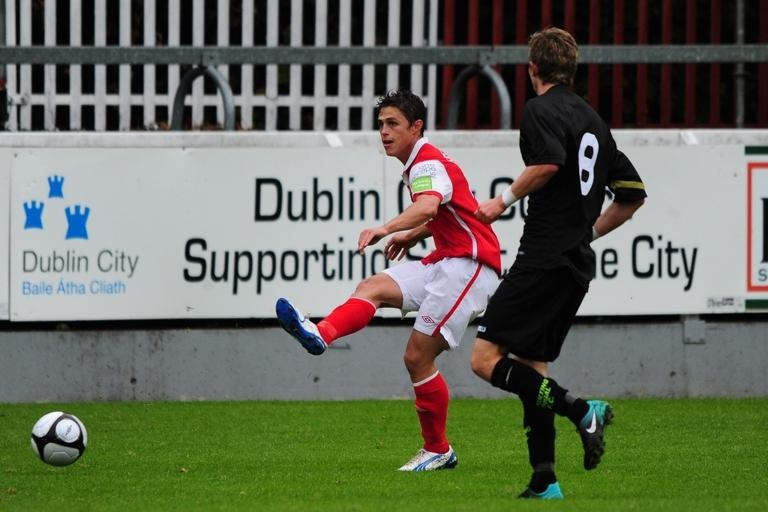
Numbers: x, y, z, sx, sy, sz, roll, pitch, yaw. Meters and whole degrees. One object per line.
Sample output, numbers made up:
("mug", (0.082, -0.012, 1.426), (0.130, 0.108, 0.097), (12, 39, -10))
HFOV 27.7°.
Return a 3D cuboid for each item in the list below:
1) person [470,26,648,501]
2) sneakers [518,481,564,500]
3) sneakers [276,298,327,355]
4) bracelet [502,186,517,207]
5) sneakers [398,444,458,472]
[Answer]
("person", (1.388, 0.037, 12.711), (1.325, 3.818, 0.544), (-2, -2, 8))
("sneakers", (1.304, 1.896, 12.675), (0.377, 0.192, 0.144), (2, -4, -1))
("sneakers", (-0.654, 0.524, 12.934), (0.187, 0.291, 0.587), (-17, -55, 36))
("bracelet", (1.039, -0.466, 12.635), (0.107, 0.160, 0.129), (-3, -31, 3))
("sneakers", (0.404, 1.709, 13.388), (0.539, 0.257, 0.190), (-8, -5, -15))
